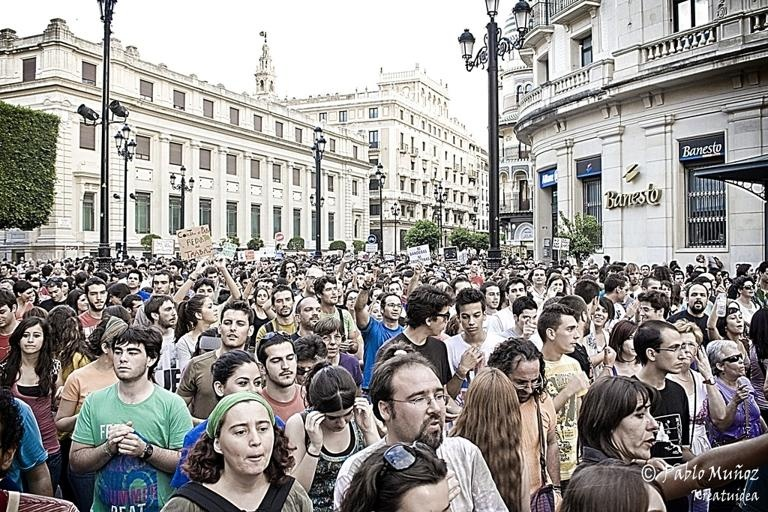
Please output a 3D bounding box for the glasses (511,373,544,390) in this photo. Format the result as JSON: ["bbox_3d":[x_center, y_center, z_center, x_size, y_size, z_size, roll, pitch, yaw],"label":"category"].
[{"bbox_3d":[2.040,1.812,11.248,0.529,0.241,0.121,1,-4,-23],"label":"glasses"}]

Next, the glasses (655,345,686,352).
[{"bbox_3d":[4.208,1.352,11.699,0.501,0.127,0.164,2,-4,-26],"label":"glasses"}]

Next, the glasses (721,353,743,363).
[{"bbox_3d":[5.410,1.592,12.448,0.343,0.137,0.136,1,-4,-18],"label":"glasses"}]
